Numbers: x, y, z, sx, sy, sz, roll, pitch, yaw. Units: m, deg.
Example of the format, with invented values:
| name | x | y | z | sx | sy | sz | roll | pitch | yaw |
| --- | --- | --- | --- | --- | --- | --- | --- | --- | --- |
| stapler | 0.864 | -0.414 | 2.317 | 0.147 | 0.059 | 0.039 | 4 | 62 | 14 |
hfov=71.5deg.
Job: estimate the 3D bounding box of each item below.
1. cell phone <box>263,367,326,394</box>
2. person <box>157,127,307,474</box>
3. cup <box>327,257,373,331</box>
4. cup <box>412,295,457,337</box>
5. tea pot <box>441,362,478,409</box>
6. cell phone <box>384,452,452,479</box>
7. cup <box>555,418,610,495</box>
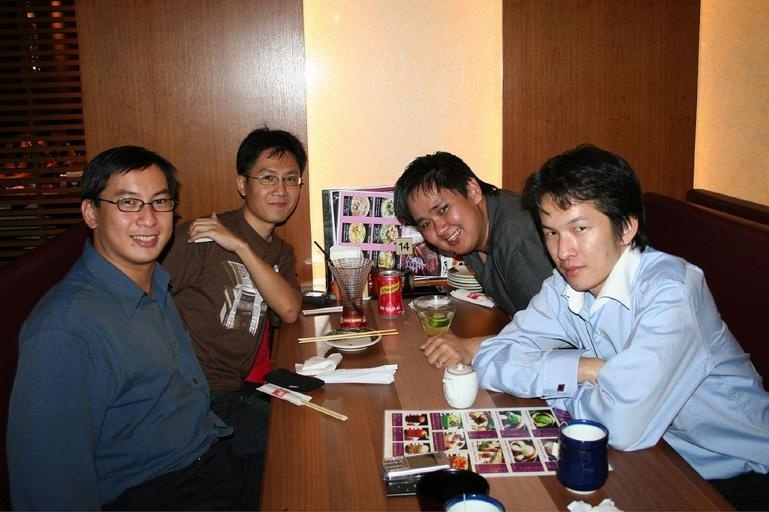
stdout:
| name | x | y | z | sx | sy | sz | roll | pitch | yaw |
| --- | --- | --- | --- | --- | --- | --- | --- | --- | --- |
| cell phone | -0.328 | 0.425 | 1.912 | 0.148 | 0.031 | 0.089 | 12 | 16 | 34 |
| person | -0.673 | 0.157 | 2.551 | 0.554 | 1.432 | 0.491 | 6 | 16 | 5 |
| cup | -0.138 | 0.162 | 2.376 | 0.269 | 0.396 | 0.279 | -1 | 4 | 0 |
| cup | 0.230 | 0.247 | 2.348 | 0.168 | 0.164 | 0.162 | 0 | 13 | 0 |
| tea pot | 0.265 | 0.430 | 1.809 | 0.116 | 0.140 | 0.151 | -1 | -1 | 27 |
| cell phone | 0.088 | 0.582 | 1.501 | 0.129 | 0.025 | 0.074 | -3 | 12 | -6 |
| cup | 0.551 | 0.551 | 1.481 | 0.128 | 0.149 | 0.144 | 2 | 13 | 20 |
